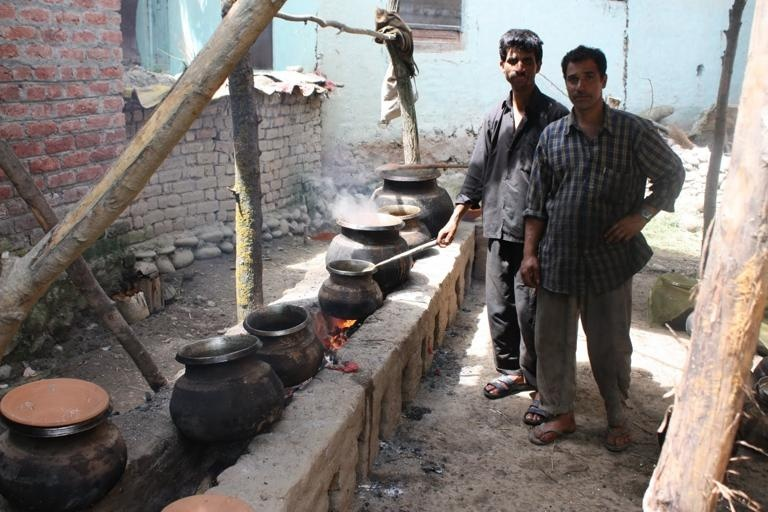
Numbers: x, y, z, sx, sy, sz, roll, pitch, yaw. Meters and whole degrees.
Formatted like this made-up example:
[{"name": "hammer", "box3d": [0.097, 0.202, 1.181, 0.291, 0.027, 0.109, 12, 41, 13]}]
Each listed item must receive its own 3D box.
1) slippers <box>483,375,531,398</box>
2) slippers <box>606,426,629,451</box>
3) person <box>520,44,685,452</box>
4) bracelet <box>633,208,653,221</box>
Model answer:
[{"name": "slippers", "box3d": [1.076, 1.130, 4.827, 0.458, 0.122, 0.169, -2, 9, -32]}, {"name": "slippers", "box3d": [1.726, 1.372, 4.136, 0.221, 0.136, 0.115, -6, 13, -2]}, {"name": "person", "box3d": [1.458, 0.012, 3.932, 0.975, 2.823, 0.710, 8, 24, 25]}, {"name": "bracelet", "box3d": [1.765, -0.292, 3.770, 0.096, 0.073, 0.097, 22, 9, -44]}]
